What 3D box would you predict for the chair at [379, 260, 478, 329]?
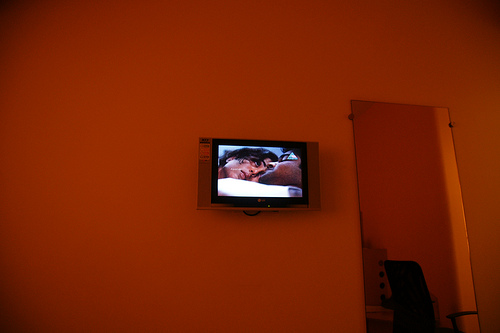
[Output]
[{"bbox_3d":[1.607,1.221,4.656,0.620,0.925,0.627,8,-22,-33],"label":"chair"}]
